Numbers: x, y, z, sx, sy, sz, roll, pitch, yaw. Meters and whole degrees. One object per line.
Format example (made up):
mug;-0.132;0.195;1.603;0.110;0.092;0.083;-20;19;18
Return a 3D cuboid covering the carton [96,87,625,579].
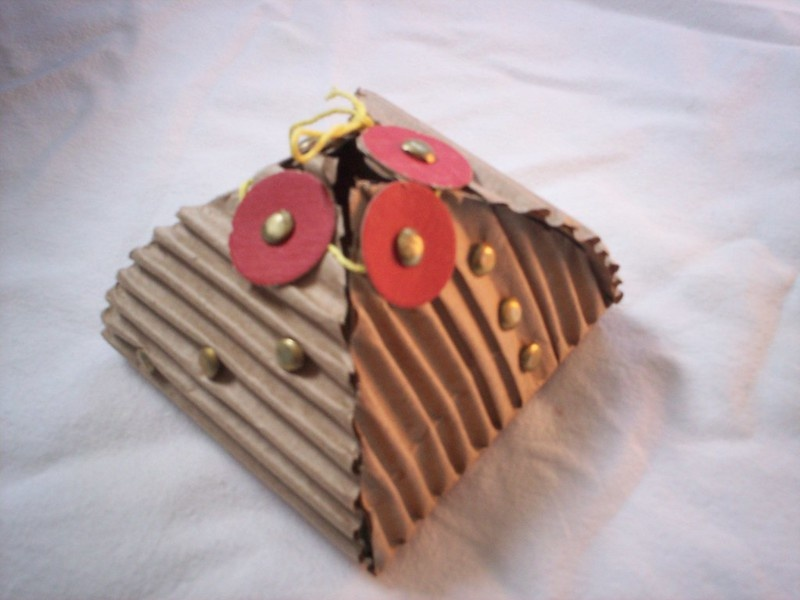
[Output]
carton;-0.070;-0.057;1.644;0.793;0.489;0.713;38;56;17
